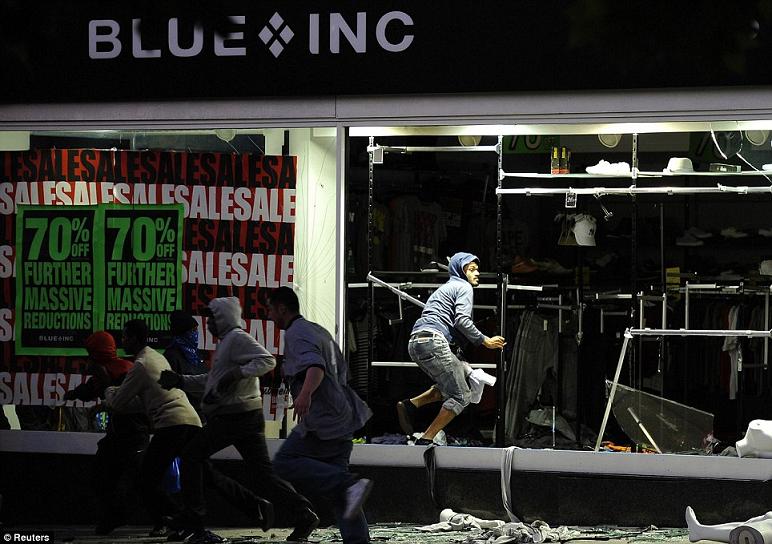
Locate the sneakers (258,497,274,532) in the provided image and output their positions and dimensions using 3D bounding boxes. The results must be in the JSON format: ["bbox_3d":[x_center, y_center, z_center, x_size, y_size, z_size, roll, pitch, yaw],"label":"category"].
[{"bbox_3d":[-1.141,2.265,10.024,0.109,0.332,0.126,-19,30,-27],"label":"sneakers"}]

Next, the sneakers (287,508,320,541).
[{"bbox_3d":[-0.760,2.332,9.874,0.179,0.449,0.158,25,-17,3],"label":"sneakers"}]

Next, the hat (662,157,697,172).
[{"bbox_3d":[3.170,-1.142,11.474,0.325,0.181,0.310,0,1,9],"label":"hat"}]

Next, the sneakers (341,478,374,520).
[{"bbox_3d":[-0.248,1.946,9.105,0.184,0.154,0.464,-1,42,15],"label":"sneakers"}]

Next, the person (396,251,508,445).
[{"bbox_3d":[0.661,0.775,11.025,1.024,1.919,1.152,-1,1,-13],"label":"person"}]

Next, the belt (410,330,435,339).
[{"bbox_3d":[0.374,0.645,10.935,0.234,0.087,0.040,0,1,20],"label":"belt"}]

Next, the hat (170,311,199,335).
[{"bbox_3d":[-1.990,0.503,10.499,0.263,0.226,0.204,-13,0,-6],"label":"hat"}]

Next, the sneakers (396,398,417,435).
[{"bbox_3d":[0.208,1.534,11.341,0.166,0.396,0.139,-35,21,-35],"label":"sneakers"}]

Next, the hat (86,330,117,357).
[{"bbox_3d":[-2.852,0.706,10.600,0.207,0.254,0.282,2,16,-17],"label":"hat"}]

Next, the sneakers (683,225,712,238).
[{"bbox_3d":[3.470,-0.439,11.753,0.217,0.095,0.127,1,0,6],"label":"sneakers"}]
